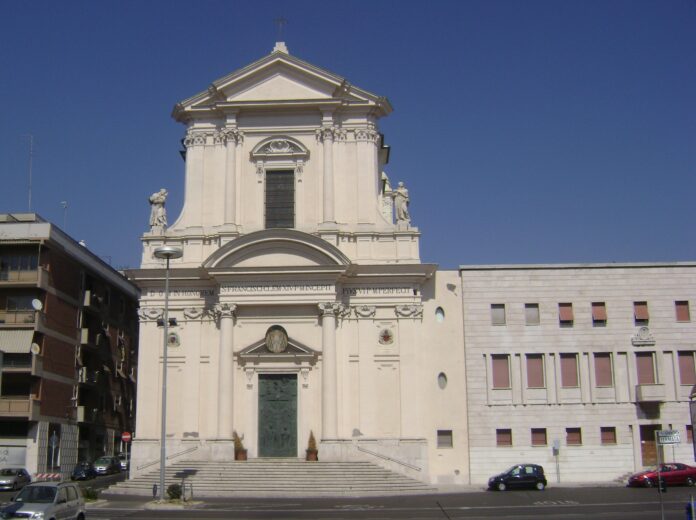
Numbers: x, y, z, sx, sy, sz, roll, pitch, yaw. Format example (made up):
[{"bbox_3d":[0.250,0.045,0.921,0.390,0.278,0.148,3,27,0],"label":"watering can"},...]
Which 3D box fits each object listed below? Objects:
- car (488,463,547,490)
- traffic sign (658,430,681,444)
[{"bbox_3d":[9.598,12.390,47.875,2.561,1.161,1.595,1,-13,4],"label":"car"},{"bbox_3d":[13.458,7.352,35.270,0.655,0.508,0.965,-16,-22,39],"label":"traffic sign"}]
